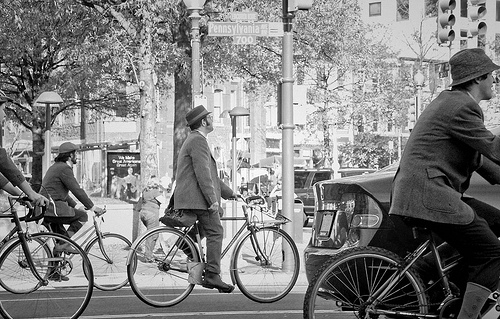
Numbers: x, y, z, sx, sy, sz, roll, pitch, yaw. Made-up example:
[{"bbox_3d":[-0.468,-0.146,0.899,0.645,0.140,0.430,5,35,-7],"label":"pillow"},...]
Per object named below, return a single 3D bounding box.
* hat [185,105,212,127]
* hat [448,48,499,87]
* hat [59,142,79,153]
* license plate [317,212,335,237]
[{"bbox_3d":[-1.061,-0.886,20.773,0.458,0.164,0.375,-27,10,14],"label":"hat"},{"bbox_3d":[3.859,-1.575,17.673,0.802,0.672,0.233,2,4,10],"label":"hat"},{"bbox_3d":[-3.884,-0.247,21.939,0.301,0.132,0.218,-8,9,-30],"label":"hat"},{"bbox_3d":[1.409,1.197,18.848,0.251,0.443,0.098,11,0,30],"label":"license plate"}]
